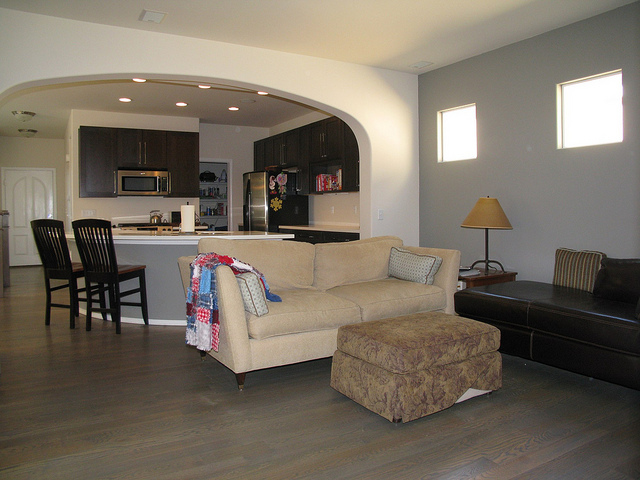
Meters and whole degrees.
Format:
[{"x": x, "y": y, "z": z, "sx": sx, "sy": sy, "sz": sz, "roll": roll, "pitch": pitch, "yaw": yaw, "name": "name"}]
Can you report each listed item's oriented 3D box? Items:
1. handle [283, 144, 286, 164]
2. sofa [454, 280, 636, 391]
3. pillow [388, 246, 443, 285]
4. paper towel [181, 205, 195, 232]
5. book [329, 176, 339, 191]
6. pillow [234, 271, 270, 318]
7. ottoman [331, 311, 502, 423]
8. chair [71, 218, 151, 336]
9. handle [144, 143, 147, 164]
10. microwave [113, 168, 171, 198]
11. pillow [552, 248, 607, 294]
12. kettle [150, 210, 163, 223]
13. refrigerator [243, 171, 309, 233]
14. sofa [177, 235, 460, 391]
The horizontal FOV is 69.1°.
[{"x": -0.633, "y": -1.496, "z": 8.033, "sx": 0.030, "sy": 0.332, "sz": 0.068, "roll": -5, "pitch": 11, "yaw": -23, "name": "handle"}, {"x": 2.006, "y": 0.451, "z": 3.617, "sx": 0.642, "sy": 0.438, "sz": 1.188, "roll": -3, "pitch": 7, "yaw": -33, "name": "sofa"}, {"x": 0.880, "y": 0.254, "z": 4.471, "sx": 0.312, "sy": 0.376, "sz": 0.678, "roll": -1, "pitch": 2, "yaw": -37, "name": "pillow"}, {"x": -1.502, "y": -0.242, "z": 5.235, "sx": 0.136, "sy": 0.294, "sz": 0.153, "roll": -4, "pitch": 11, "yaw": -20, "name": "paper towel"}, {"x": 0.205, "y": -0.850, "z": 6.962, "sx": 0.129, "sy": 0.211, "sz": 0.341, "roll": -2, "pitch": 10, "yaw": -6, "name": "book"}, {"x": -0.589, "y": 0.449, "z": 3.594, "sx": 0.154, "sy": 0.347, "sz": 0.399, "roll": -13, "pitch": -6, "yaw": -18, "name": "pillow"}, {"x": 0.734, "y": 0.866, "z": 3.467, "sx": 1.118, "sy": 0.518, "sz": 0.821, "roll": -2, "pitch": 5, "yaw": -32, "name": "ottoman"}, {"x": -2.184, "y": 0.347, "z": 4.872, "sx": 0.722, "sy": 1.203, "sz": 0.618, "roll": 5, "pitch": 12, "yaw": 28, "name": "chair"}, {"x": -2.898, "y": -1.444, "z": 7.696, "sx": 0.039, "sy": 0.318, "sz": 0.047, "roll": -4, "pitch": 11, "yaw": -18, "name": "handle"}, {"x": -2.947, "y": -0.958, "z": 7.669, "sx": 0.783, "sy": 0.425, "sz": 0.463, "roll": -3, "pitch": 5, "yaw": -37, "name": "microwave"}, {"x": 2.266, "y": 0.280, "z": 4.102, "sx": 0.114, "sy": 0.395, "sz": 0.386, "roll": 5, "pitch": 2, "yaw": -31, "name": "pillow"}, {"x": -2.768, "y": -0.397, "z": 7.833, "sx": 0.163, "sy": 0.267, "sz": 0.255, "roll": -1, "pitch": -3, "yaw": 34, "name": "kettle"}, {"x": -0.891, "y": -0.562, "z": 8.154, "sx": 0.733, "sy": 1.266, "sz": 0.759, "roll": -4, "pitch": 1, "yaw": -34, "name": "refrigerator"}, {"x": 0.092, "y": 0.547, "z": 4.313, "sx": 2.461, "sy": 1.162, "sz": 1.104, "roll": -2, "pitch": 3, "yaw": -31, "name": "sofa"}]
